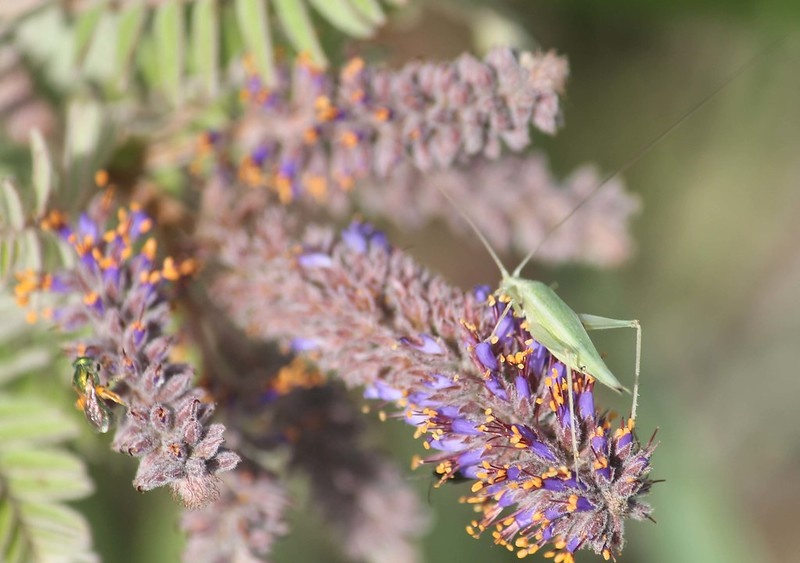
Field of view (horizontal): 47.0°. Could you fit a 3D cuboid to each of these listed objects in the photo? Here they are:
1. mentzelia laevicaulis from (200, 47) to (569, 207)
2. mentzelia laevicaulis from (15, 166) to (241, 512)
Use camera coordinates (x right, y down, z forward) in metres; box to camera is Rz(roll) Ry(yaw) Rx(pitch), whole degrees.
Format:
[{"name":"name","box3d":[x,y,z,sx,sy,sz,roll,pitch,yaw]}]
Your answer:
[{"name":"mentzelia laevicaulis","box3d":[0.036,-0.314,1.856,0.814,0.322,0.268,-11,30,2]},{"name":"mentzelia laevicaulis","box3d":[-0.517,0.128,1.772,0.295,0.241,0.637,-13,65,-42]}]
